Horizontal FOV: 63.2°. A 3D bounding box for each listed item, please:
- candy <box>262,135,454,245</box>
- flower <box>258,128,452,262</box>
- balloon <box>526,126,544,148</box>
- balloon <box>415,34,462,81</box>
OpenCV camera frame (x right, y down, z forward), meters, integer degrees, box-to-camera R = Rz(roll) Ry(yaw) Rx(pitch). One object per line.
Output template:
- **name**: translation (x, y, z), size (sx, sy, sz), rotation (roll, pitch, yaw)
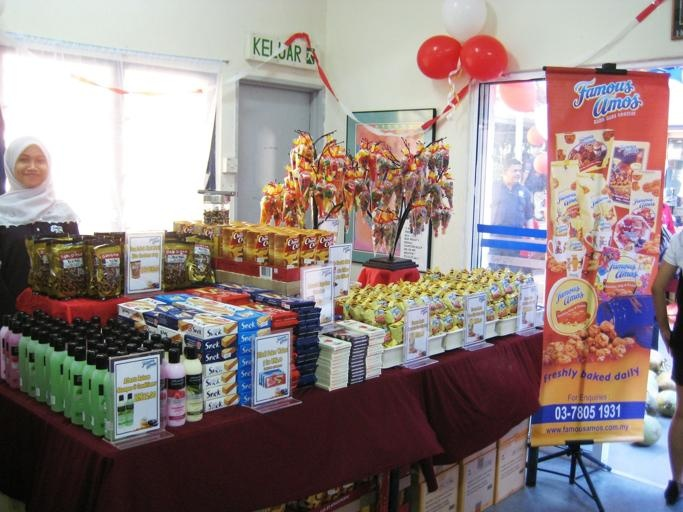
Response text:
- **candy**: translation (0.090, -0.500, 3.953), size (1.016, 0.664, 0.827), rotation (-2, 13, -20)
- **flower**: translation (0.180, -0.477, 3.868), size (1.056, 0.753, 0.883), rotation (3, 10, 9)
- **balloon**: translation (1.683, -1.032, 4.875), size (0.147, 0.174, 0.151), rotation (-28, 12, 17)
- **balloon**: translation (0.867, -1.777, 4.954), size (0.374, 0.446, 0.378), rotation (5, -11, -5)
